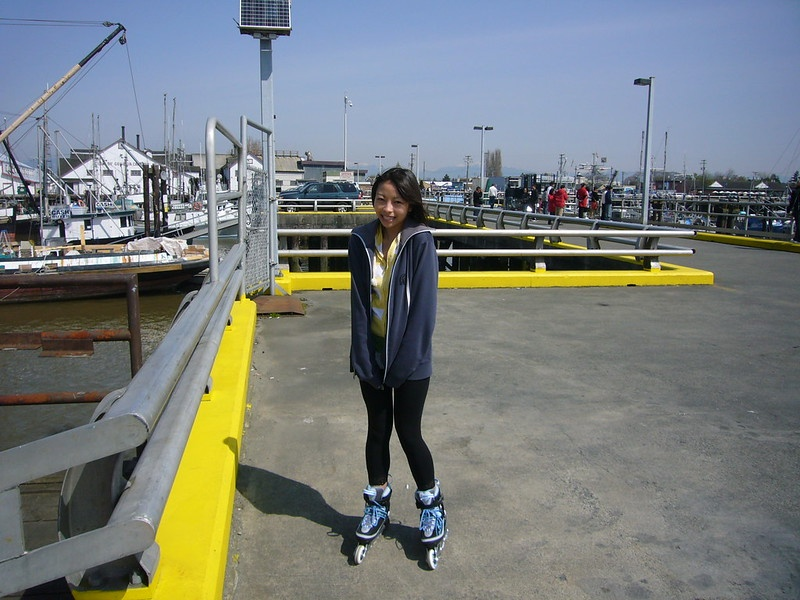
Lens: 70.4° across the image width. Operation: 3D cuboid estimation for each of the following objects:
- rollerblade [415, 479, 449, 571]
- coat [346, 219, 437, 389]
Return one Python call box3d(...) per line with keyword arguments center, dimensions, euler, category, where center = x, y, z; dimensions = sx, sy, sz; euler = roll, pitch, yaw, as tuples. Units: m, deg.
box3d(center=(0.181, 1.250, 3.136), dimensions=(0.122, 0.224, 0.428), euler=(-8, -3, 5), category="rollerblade")
box3d(center=(-0.044, 0.031, 3.124), dimensions=(0.475, 0.909, 0.299), euler=(0, 11, 1), category="coat")
